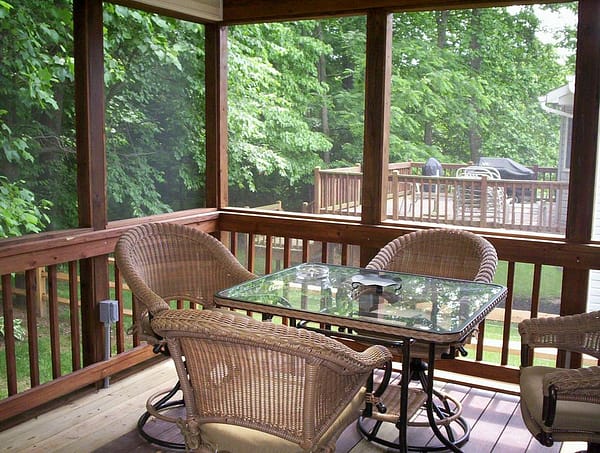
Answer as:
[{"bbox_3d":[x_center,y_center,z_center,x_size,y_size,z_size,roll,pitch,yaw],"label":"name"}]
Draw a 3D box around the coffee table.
[{"bbox_3d":[0.314,0.377,2.526,1.085,0.695,1.164,5,5,42],"label":"coffee table"}]
